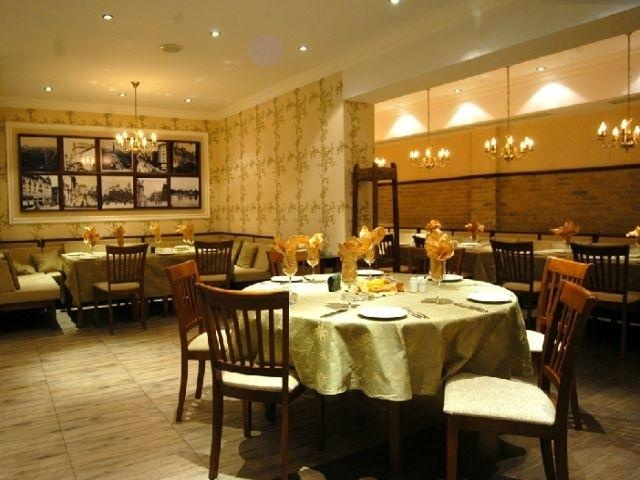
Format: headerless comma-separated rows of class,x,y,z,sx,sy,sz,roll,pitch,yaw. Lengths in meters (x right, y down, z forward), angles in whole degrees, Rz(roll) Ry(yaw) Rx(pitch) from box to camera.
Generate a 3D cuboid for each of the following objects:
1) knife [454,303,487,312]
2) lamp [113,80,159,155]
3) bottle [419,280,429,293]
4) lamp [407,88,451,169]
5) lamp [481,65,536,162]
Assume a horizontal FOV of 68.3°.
knife,0.961,0.427,3.024,0.055,0.032,0.236,3,1,-31
lamp,-2.950,-1.967,7.555,0.514,1.080,0.502,-2,7,-26
bottle,0.768,0.342,3.519,0.088,0.101,0.088,0,-4,1
lamp,2.210,-2.105,9.449,0.856,1.435,2.443,0,10,12
lamp,3.128,-2.107,7.834,0.759,1.631,0.764,2,10,29
